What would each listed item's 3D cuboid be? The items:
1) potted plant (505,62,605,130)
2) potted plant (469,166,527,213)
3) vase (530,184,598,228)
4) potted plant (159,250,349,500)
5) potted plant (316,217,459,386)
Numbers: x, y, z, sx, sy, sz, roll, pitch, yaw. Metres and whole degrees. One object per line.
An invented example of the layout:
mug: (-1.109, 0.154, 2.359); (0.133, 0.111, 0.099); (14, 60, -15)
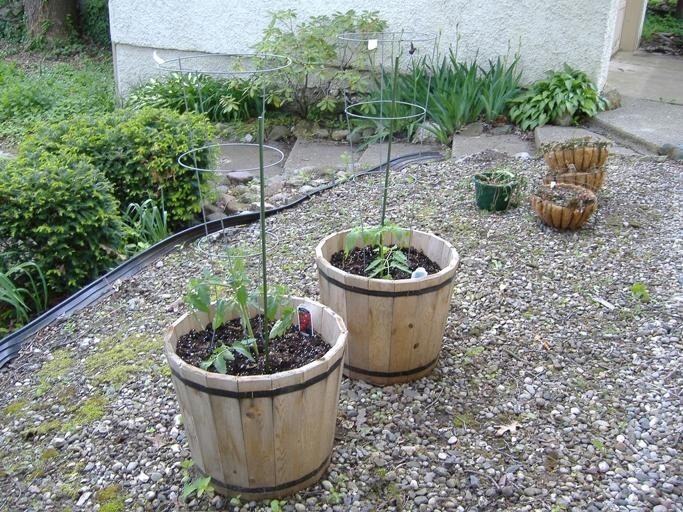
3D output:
potted plant: (2.743, -1.892, 6.880); (0.884, 0.410, 0.961); (-8, 51, 17)
potted plant: (1.466, -0.647, 4.876); (0.396, 0.271, 0.403); (-15, 34, -15)
vase: (1.910, -0.429, 4.539); (0.513, 0.313, 0.438); (12, 28, 20)
potted plant: (-0.451, 0.580, 2.663); (0.877, 1.056, 0.687); (11, 27, 19)
potted plant: (0.260, 0.372, 3.439); (0.838, 0.761, 0.929); (-3, 30, -6)
